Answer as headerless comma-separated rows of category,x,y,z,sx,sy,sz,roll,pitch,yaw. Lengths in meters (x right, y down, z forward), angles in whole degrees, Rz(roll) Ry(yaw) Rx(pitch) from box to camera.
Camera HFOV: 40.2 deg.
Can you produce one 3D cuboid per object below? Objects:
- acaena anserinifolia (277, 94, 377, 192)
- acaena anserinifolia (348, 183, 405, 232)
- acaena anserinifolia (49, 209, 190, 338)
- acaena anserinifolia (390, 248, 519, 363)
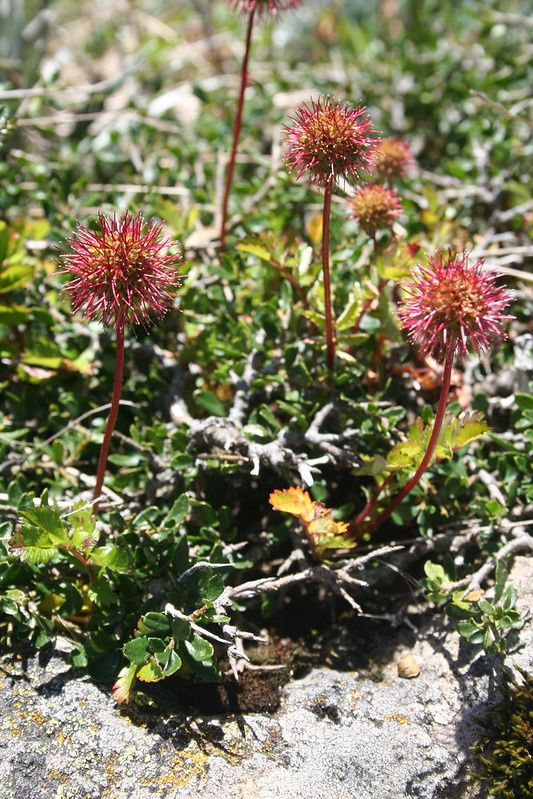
acaena anserinifolia,0.181,-0.740,2.113,0.243,0.247,0.224,-10,15,-35
acaena anserinifolia,0.390,-0.680,2.601,0.178,0.163,0.172,0,-5,-3
acaena anserinifolia,-0.408,-0.364,2.033,0.291,0.329,0.218,7,-1,-17
acaena anserinifolia,0.513,-0.275,2.048,0.302,0.294,0.298,17,-9,-26
